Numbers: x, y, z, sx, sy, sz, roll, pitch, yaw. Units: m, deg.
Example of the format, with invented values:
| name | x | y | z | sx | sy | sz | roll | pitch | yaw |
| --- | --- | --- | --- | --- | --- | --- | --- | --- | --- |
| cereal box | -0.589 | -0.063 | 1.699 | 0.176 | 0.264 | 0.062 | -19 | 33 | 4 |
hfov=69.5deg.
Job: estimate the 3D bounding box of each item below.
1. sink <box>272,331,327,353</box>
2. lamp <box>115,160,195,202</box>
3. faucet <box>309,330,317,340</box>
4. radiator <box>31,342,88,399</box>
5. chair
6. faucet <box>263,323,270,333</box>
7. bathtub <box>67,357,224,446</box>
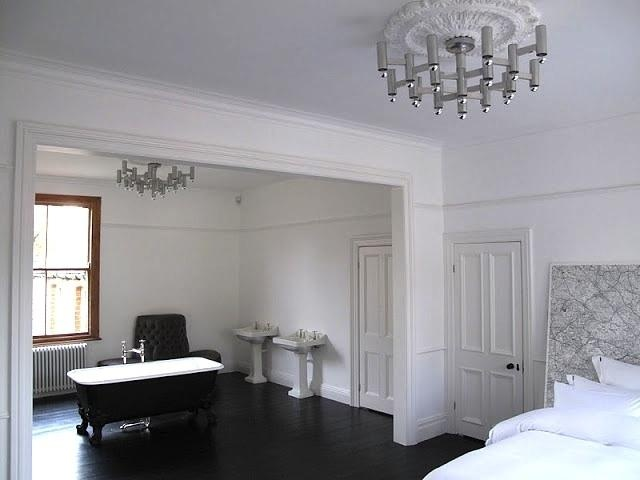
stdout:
| name | x | y | z | sx | sy | sz | roll | pitch | yaw |
| --- | --- | --- | --- | --- | --- | --- | --- | --- | --- |
| sink | -0.331 | 1.775 | 7.919 | 0.813 | 0.360 | 0.515 | -3 | -5 | 44 |
| lamp | -2.482 | -0.915 | 6.967 | 0.947 | 0.511 | 0.953 | -2 | 2 | -42 |
| faucet | -0.120 | 1.649 | 7.984 | 0.150 | 0.157 | 0.104 | -4 | -7 | 43 |
| radiator | -4.419 | 2.159 | 7.769 | 0.801 | 0.753 | 0.116 | 0 | -2 | -22 |
| chair | -2.799 | 2.246 | 9.089 | 1.317 | 1.813 | 1.352 | 5 | -19 | -36 |
| faucet | -1.015 | 1.700 | 8.905 | 0.108 | 0.221 | 0.115 | 2 | -4 | -25 |
| bathtub | -2.474 | 2.220 | 6.531 | 1.877 | 0.878 | 0.834 | 3 | -4 | -31 |
